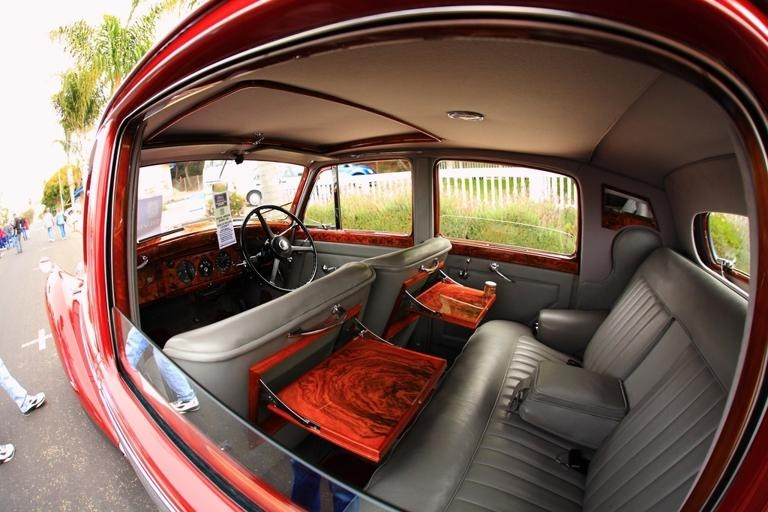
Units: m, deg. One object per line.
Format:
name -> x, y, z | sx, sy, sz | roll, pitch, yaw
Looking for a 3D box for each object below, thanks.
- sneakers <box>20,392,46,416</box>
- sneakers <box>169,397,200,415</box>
sneakers -> -2.996, 1.192, 3.285 | 0.084, 0.099, 0.209 | 17, 34, 8
sneakers -> -0.688, 0.502, 1.351 | 0.125, 0.052, 0.061 | 0, -20, 9
